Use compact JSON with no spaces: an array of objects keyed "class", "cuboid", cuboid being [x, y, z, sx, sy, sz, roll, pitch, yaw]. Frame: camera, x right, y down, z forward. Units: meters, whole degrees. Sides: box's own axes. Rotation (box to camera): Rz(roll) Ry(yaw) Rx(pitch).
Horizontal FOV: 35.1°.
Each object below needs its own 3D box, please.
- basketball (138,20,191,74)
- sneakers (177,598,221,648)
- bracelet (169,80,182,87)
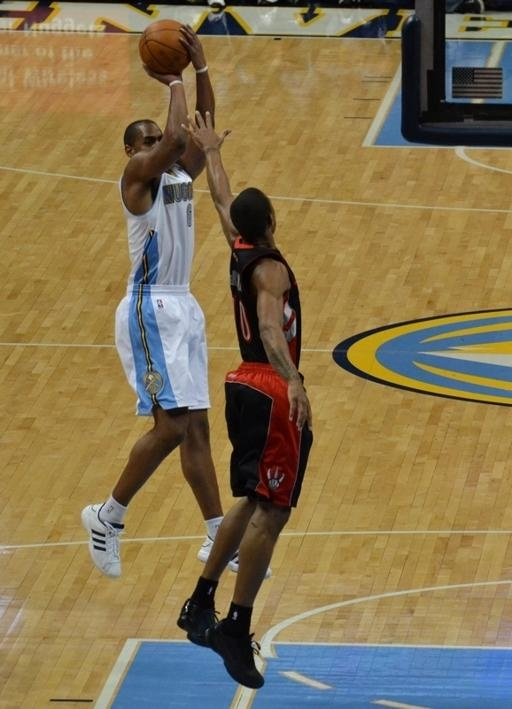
[{"class":"basketball","cuboid":[-0.343,-1.144,3.018,0.174,0.215,0.219,-6,13,-17]},{"class":"sneakers","cuboid":[-0.191,0.877,2.645,0.075,0.104,0.243,17,-15,40]},{"class":"bracelet","cuboid":[-0.301,-0.994,2.980,0.046,0.030,0.108,-2,13,-2]}]
